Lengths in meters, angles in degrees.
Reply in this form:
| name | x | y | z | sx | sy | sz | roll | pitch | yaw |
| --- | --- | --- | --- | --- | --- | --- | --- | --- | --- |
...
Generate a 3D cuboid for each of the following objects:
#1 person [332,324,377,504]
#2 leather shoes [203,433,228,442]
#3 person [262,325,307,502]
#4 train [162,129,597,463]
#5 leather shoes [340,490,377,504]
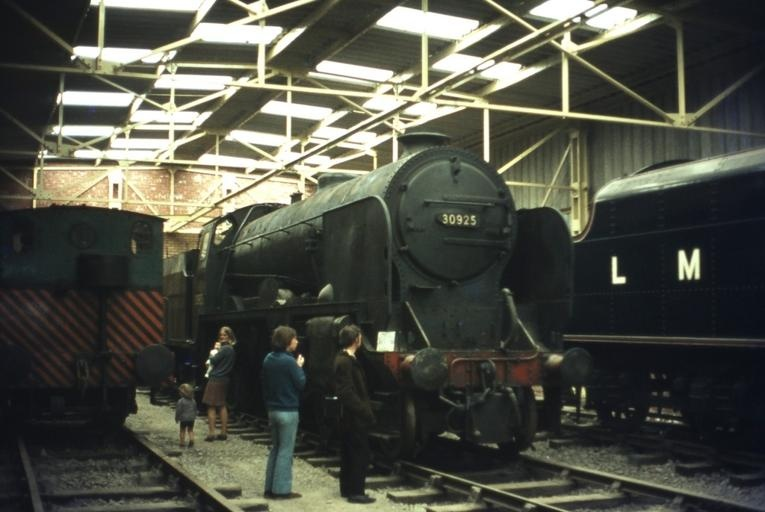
| name | x | y | z | sx | sy | sz | roll | pitch | yaw |
| --- | --- | --- | --- | --- | --- | --- | --- | --- | --- |
| person | -0.470 | 2.547 | 13.607 | 0.685 | 2.837 | 0.479 | 2 | -6 | -4 |
| leather shoes | -3.362 | 3.676 | 17.029 | 0.450 | 0.201 | 0.167 | 5 | -5 | -19 |
| person | -1.596 | 2.553 | 13.915 | 0.839 | 2.819 | 0.792 | -3 | -5 | 44 |
| train | -0.658 | 1.120 | 19.917 | 8.390 | 5.900 | 13.408 | 8 | -10 | -41 |
| leather shoes | -0.359 | 3.876 | 13.598 | 0.514 | 0.222 | 0.195 | 1 | -4 | 0 |
